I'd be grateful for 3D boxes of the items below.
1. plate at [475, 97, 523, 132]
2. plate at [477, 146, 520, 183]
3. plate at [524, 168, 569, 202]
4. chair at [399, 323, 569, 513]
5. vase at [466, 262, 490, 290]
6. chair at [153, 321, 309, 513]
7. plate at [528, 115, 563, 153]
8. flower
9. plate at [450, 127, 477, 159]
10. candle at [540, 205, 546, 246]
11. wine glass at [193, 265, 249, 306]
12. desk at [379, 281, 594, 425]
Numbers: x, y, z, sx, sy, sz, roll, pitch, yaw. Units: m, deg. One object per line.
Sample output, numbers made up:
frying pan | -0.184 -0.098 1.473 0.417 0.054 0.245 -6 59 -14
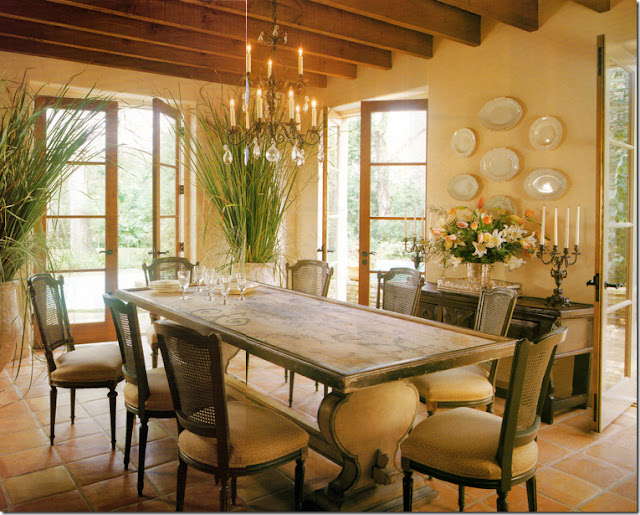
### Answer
plate | 1.488 -1.169 4.116 0.304 0.273 0.082 41 25 30
plate | 1.488 -0.772 4.137 0.288 0.263 0.077 26 22 39
plate | 1.762 -0.568 3.868 0.079 0.242 0.321 -6 12 -37
chair | 0.735 0.818 2.296 0.579 1.043 0.493 -8 13 -44
vase | 1.237 0.154 3.896 0.201 0.199 0.194 0 1 -22
chair | -0.414 0.736 2.349 0.644 0.906 0.424 -3 10 -22
plate | 1.757 -0.966 3.855 0.061 0.263 0.246 -6 12 -37
flower | 1.286 -0.157 3.957 0.727 0.420 0.584 1 1 -26
plate | 1.265 -1.010 4.385 0.064 0.235 0.239 -8 40 -45
candle | 1.747 -0.247 3.880 0.059 0.291 0.130 6 11 24
wine glass | -0.689 0.148 3.562 0.256 0.089 0.394 -4 9 -36
desk | 1.218 0.701 4.291 0.601 0.874 1.916 -4 7 -37
